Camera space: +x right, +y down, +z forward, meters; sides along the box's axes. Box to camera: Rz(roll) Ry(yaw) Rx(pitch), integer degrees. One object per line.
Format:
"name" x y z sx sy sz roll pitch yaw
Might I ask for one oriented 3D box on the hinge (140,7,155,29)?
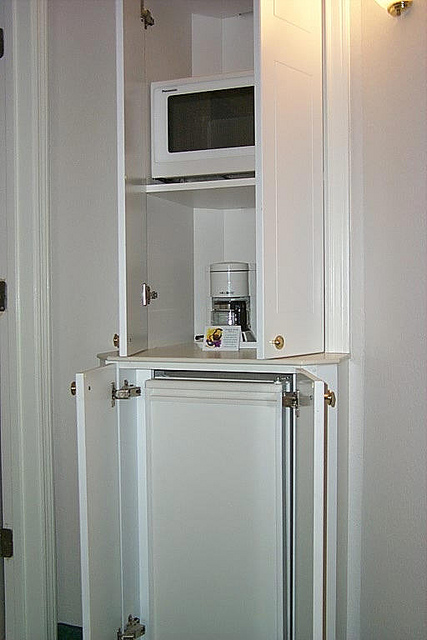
"hinge" -0.179 -0.804 1.669 0.014 0.063 0.040 1 11 29

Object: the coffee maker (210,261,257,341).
"coffee maker" 0.046 -0.056 1.757 0.145 0.339 0.175 0 7 6

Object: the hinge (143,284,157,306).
"hinge" -0.177 -0.068 1.694 0.009 0.041 0.039 3 5 28

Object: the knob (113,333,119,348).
"knob" -0.269 0.055 1.682 0.010 0.038 0.023 -3 -6 7

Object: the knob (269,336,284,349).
"knob" 0.147 0.050 1.439 0.043 0.029 0.008 7 -10 -44

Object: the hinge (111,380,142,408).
"hinge" -0.212 0.182 1.518 0.041 0.038 0.050 2 -1 35

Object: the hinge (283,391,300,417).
"hinge" 0.175 0.185 1.389 0.032 0.055 0.014 -1 -2 30

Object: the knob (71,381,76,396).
"knob" -0.312 0.149 1.374 0.008 0.031 0.023 -1 -46 -4
